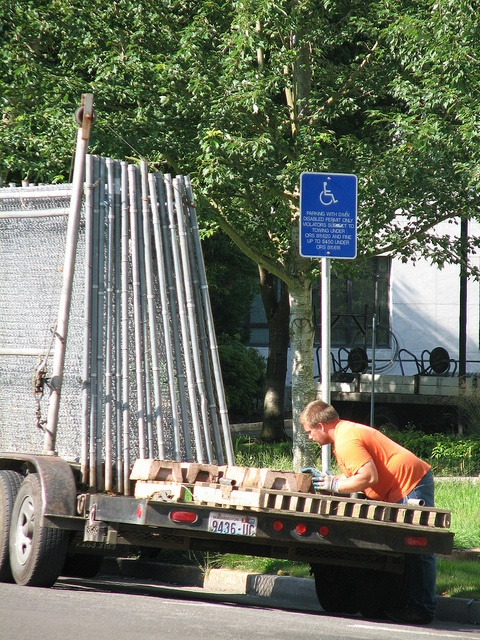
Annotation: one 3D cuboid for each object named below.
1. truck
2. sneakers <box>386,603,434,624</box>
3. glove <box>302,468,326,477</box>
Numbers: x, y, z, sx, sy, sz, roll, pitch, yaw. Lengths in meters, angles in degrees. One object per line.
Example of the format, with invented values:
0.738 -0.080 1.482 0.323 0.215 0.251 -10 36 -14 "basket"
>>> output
-0.210 1.616 9.669 3.576 0.828 2.148 2 -2 9 "truck"
1.243 2.122 9.338 0.351 0.153 0.127 4 -7 9 "sneakers"
0.516 1.084 9.130 0.110 0.032 0.082 11 -5 -21 "glove"
